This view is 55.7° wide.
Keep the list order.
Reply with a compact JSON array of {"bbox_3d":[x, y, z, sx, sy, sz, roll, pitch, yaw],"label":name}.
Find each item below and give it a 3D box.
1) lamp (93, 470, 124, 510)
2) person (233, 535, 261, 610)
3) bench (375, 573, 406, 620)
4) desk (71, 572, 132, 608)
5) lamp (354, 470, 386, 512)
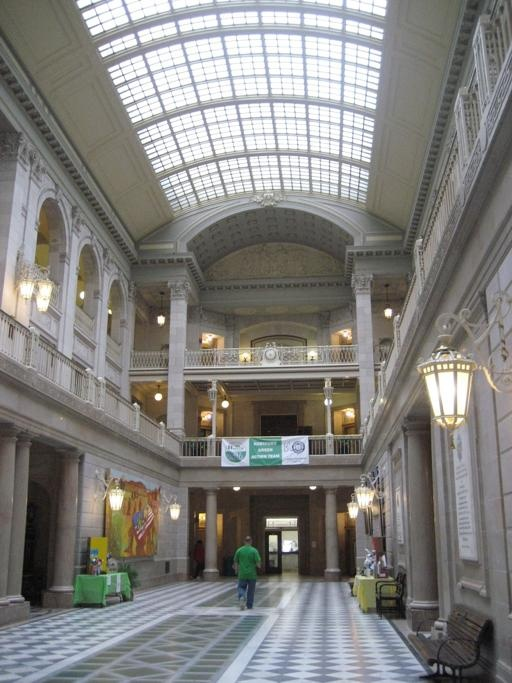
[{"bbox_3d":[-4.458,4.472,14.493,1.016,1.153,0.571,18,-25,-41],"label":"lamp"},{"bbox_3d":[-0.217,5.337,11.239,0.586,1.610,0.547,1,-1,2],"label":"person"},{"bbox_3d":[2.955,5.603,10.661,0.464,0.885,0.631,1,-20,11],"label":"bench"},{"bbox_3d":[-4.046,6.490,12.664,0.826,0.816,1.888,-4,-20,11],"label":"desk"},{"bbox_3d":[3.853,5.050,16.763,1.875,1.256,0.509,4,-8,-25],"label":"lamp"}]
